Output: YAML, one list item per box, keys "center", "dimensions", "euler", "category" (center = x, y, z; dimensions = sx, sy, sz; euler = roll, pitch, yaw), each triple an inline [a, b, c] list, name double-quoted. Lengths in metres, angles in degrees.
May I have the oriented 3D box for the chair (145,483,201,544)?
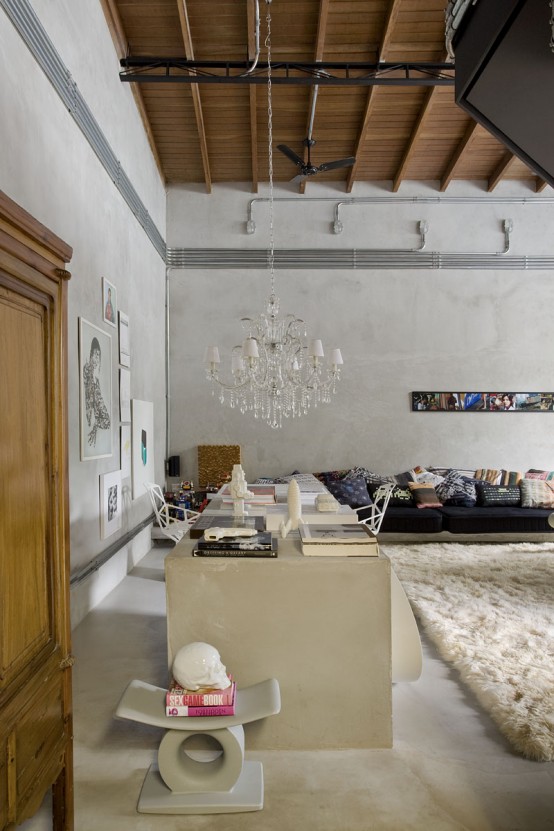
- center: [-0.920, 1.027, 5.629]
  dimensions: [0.438, 0.687, 0.440]
  euler: [4, 14, 8]
  category: "chair"
